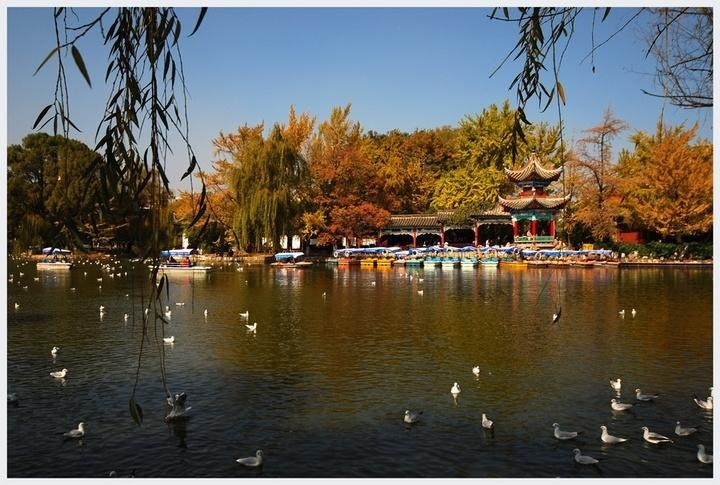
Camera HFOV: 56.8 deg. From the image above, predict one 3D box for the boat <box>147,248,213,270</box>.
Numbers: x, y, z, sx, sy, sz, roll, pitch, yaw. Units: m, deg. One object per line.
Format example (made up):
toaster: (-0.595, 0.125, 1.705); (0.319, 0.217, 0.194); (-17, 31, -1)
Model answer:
boat: (-8.813, 0.897, 33.572); (2.512, 0.952, 1.490); (3, -2, 6)

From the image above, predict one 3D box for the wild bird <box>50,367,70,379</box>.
wild bird: (-6.532, 2.866, 14.469); (0.367, 0.285, 0.210); (4, 3, 6)

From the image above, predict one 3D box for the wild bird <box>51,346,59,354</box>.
wild bird: (-7.440, 2.644, 16.251); (0.156, 0.128, 0.099); (-11, 3, -1)

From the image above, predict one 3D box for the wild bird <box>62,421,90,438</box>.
wild bird: (-5.117, 3.403, 11.968); (0.350, 0.278, 0.205); (4, -9, -16)

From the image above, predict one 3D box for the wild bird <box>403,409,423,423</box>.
wild bird: (0.995, 3.281, 12.438); (0.295, 0.211, 0.172); (5, -20, -34)

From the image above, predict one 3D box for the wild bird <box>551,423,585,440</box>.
wild bird: (3.661, 3.408, 11.910); (0.403, 0.285, 0.245); (-3, -13, 20)

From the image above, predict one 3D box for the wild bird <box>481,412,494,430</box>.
wild bird: (2.346, 3.332, 12.294); (0.121, 0.215, 0.344); (0, -2, -4)

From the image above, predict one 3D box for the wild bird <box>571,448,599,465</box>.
wild bird: (3.831, 3.641, 11.250); (0.299, 0.215, 0.216); (1, -19, 20)

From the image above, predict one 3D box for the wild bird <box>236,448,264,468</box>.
wild bird: (-1.837, 3.702, 11.282); (0.363, 0.269, 0.230); (12, -1, 18)

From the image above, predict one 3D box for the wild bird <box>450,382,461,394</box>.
wild bird: (1.962, 3.018, 13.606); (0.144, 0.186, 0.251); (2, -11, 18)
